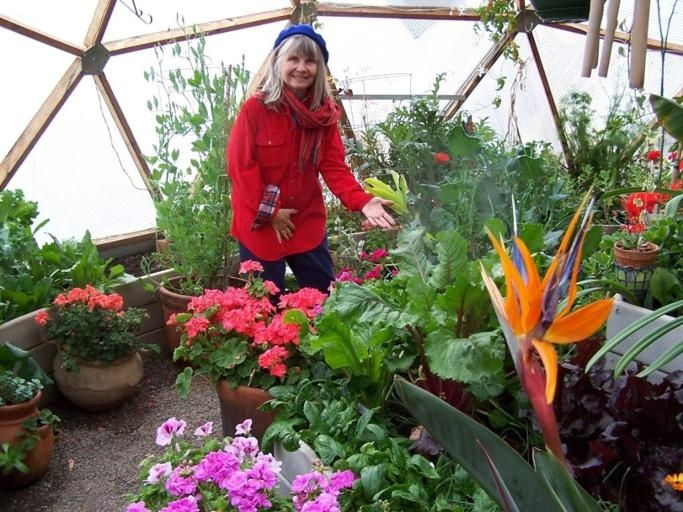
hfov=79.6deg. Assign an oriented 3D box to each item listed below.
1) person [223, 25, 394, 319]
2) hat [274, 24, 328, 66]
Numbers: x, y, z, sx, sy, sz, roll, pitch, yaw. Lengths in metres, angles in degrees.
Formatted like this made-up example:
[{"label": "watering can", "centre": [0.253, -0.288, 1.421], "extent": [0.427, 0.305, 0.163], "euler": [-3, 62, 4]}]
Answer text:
[{"label": "person", "centre": [-0.327, -0.550, 2.715], "extent": [0.910, 1.778, 0.716], "euler": [-11, 19, -14]}, {"label": "hat", "centre": [-0.261, -1.349, 2.596], "extent": [0.341, 0.243, 0.195], "euler": [-9, 19, -7]}]
